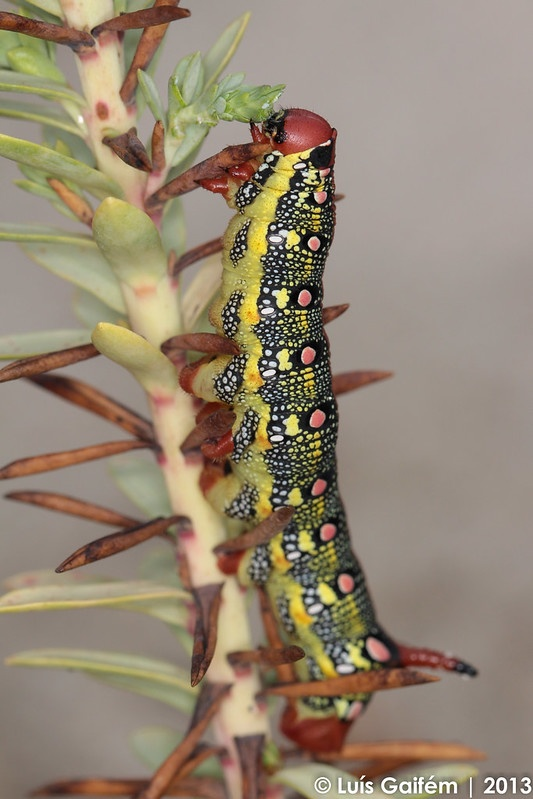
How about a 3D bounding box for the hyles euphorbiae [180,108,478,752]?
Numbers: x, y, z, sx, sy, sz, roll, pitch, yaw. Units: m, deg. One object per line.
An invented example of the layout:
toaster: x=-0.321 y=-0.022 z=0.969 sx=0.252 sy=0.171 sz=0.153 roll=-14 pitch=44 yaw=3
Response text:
hyles euphorbiae: x=0.035 y=0.063 z=0.890 sx=0.274 sy=0.675 sz=0.242 roll=-1 pitch=8 yaw=30
